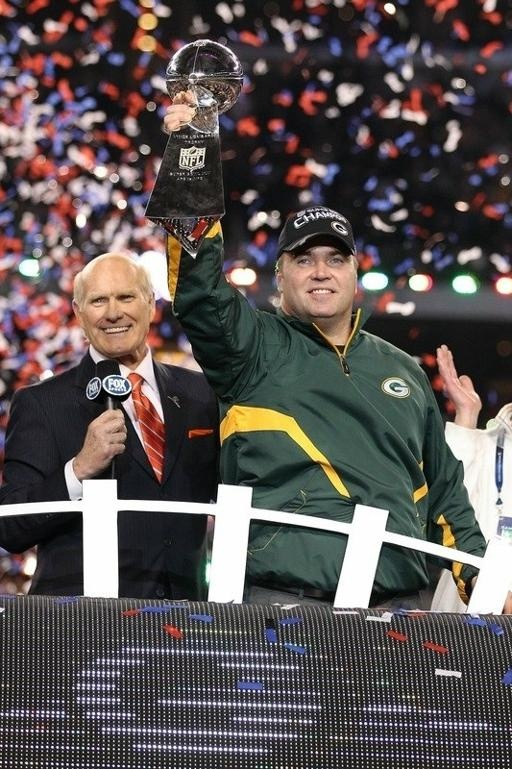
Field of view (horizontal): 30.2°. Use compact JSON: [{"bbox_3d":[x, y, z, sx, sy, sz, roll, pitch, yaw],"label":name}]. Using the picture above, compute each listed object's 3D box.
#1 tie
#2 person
[{"bbox_3d":[-0.281,0.106,2.413,0.071,0.029,0.342,-7,43,-17],"label":"tie"},{"bbox_3d":[0.117,-0.048,1.982,0.804,0.959,0.810,-5,35,-15],"label":"person"}]
